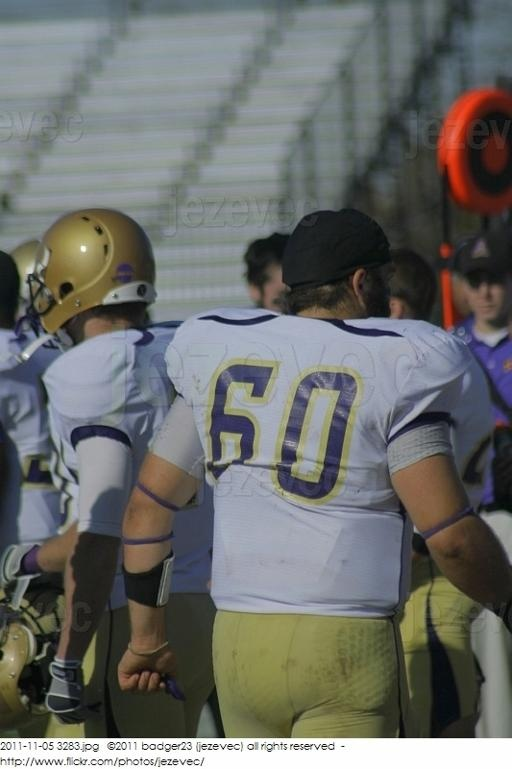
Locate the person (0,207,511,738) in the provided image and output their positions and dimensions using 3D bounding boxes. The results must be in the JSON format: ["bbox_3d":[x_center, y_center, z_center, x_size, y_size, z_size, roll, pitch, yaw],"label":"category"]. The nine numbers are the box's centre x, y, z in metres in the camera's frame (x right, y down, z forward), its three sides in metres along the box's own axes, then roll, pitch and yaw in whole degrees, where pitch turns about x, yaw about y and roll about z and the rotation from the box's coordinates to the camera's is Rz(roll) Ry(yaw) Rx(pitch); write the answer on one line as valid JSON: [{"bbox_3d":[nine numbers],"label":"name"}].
[{"bbox_3d":[0.079,0.190,2.240,0.819,1.103,0.331,2,3,32],"label":"person"}]

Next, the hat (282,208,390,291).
[{"bbox_3d":[0.161,-0.245,2.286,0.192,0.134,0.152,-28,37,4],"label":"hat"}]

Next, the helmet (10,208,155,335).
[{"bbox_3d":[-0.398,-0.293,2.679,0.310,0.267,0.242,11,20,32],"label":"helmet"}]
